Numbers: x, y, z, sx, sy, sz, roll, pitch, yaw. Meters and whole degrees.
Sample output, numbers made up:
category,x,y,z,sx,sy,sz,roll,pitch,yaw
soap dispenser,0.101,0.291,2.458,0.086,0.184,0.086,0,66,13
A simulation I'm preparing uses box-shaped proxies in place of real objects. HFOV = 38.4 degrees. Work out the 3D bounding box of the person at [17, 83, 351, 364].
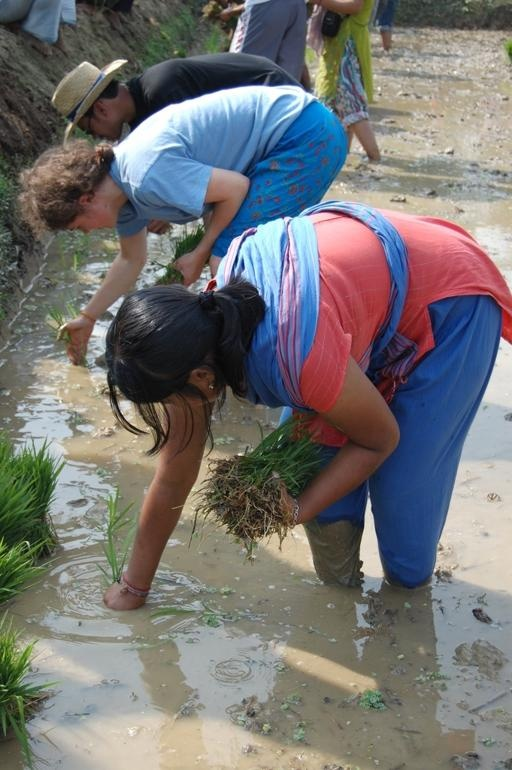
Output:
category,x,y,z,sx,sy,sz,roll,pitch,yaw
person,-0.170,-0.614,2.744,1.305,0.710,0.507,-23,25,-15

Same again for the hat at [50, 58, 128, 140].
category,x,y,z,sx,sy,sz,roll,pitch,yaw
hat,-0.667,-1.147,3.002,0.139,0.296,0.354,39,4,-2

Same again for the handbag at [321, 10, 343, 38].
category,x,y,z,sx,sy,sz,roll,pitch,yaw
handbag,0.583,-2.748,5.590,0.155,0.198,0.108,25,32,18

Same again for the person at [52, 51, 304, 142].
category,x,y,z,sx,sy,sz,roll,pitch,yaw
person,-0.331,-1.162,3.119,1.114,0.490,0.332,-17,34,-35

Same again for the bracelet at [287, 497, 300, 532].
category,x,y,z,sx,sy,sz,roll,pitch,yaw
bracelet,0.091,0.313,1.806,0.024,0.057,0.047,5,0,-1

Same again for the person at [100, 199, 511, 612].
category,x,y,z,sx,sy,sz,roll,pitch,yaw
person,0.181,0.172,1.956,1.144,1.273,0.650,-9,20,-21
